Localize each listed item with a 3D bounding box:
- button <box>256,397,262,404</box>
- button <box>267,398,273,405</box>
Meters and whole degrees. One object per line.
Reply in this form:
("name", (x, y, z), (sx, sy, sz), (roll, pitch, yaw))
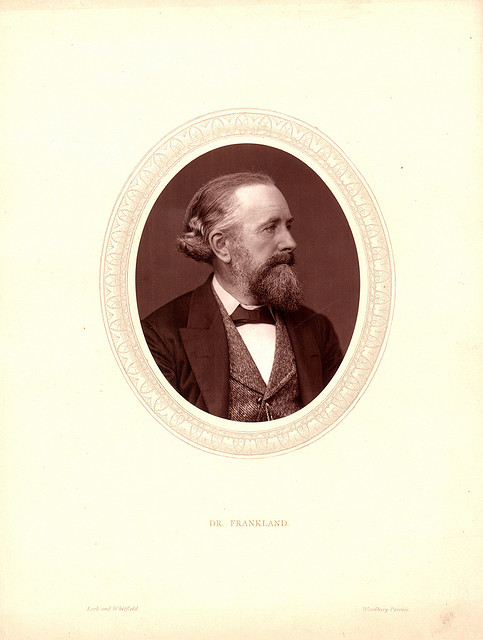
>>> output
("button", (0.078, 0.357, 4.093), (0.022, 0.009, 0.020), (-8, -74, -2))
("button", (0.131, 0.361, 4.097), (0.021, 0.005, 0.022), (-37, -77, -5))
